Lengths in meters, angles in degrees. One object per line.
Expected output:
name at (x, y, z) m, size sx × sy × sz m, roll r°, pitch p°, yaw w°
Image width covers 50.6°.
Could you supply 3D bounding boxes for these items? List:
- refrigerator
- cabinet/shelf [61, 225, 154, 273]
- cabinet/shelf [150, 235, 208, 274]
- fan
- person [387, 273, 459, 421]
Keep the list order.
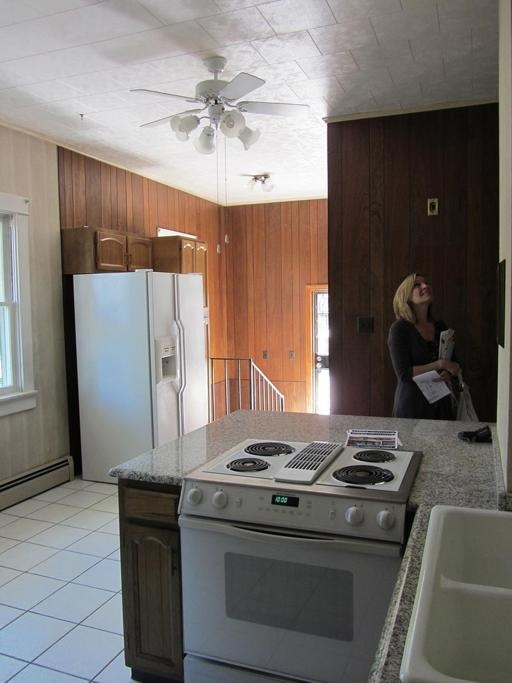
refrigerator at (-0.893, 0.274, 4.352) m, size 1.053 × 1.637 × 0.629 m, roll -4°, pitch 3°, yaw -19°
cabinet/shelf at (-1.235, -0.751, 4.673) m, size 0.297 × 0.364 × 1.036 m, roll 2°, pitch 6°, yaw 15°
cabinet/shelf at (-0.766, -0.835, 5.243) m, size 0.205 × 0.498 × 0.580 m, roll 1°, pitch 5°, yaw 17°
fan at (-0.186, -1.260, 2.714) m, size 0.726 × 0.289 × 0.765 m, roll -2°, pitch 6°, yaw 5°
person at (0.844, 0.031, 2.758) m, size 0.333 × 0.759 × 0.541 m, roll -2°, pitch 3°, yaw 18°
